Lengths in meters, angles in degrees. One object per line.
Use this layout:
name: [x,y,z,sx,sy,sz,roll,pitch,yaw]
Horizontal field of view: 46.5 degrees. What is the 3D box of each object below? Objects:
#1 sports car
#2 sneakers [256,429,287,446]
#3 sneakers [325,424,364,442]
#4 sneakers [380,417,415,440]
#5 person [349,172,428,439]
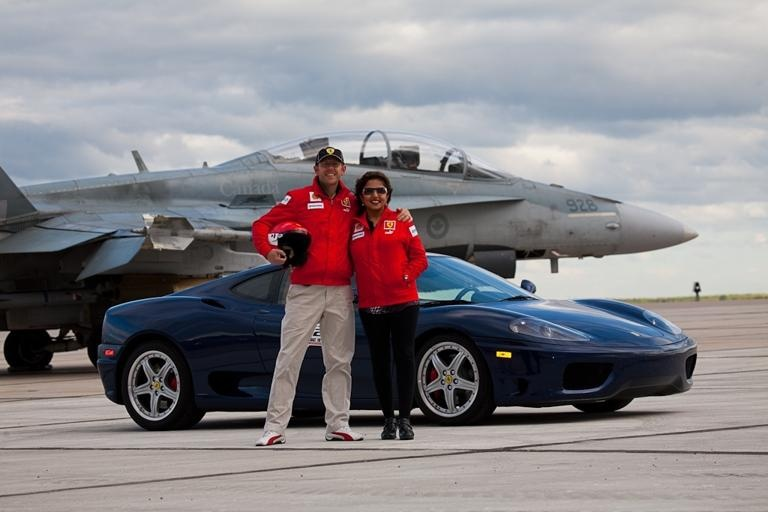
sports car: [0.189,0.690,10.710,6.853,1.290,3.506,-4,9,40]
sneakers: [-1.032,1.632,8.040,0.194,0.119,0.256,1,8,20]
sneakers: [-0.385,1.621,8.222,0.436,0.107,0.119,0,1,6]
sneakers: [0.114,1.555,8.086,0.373,0.147,0.486,0,-9,-1]
person: [-0.004,0.361,8.176,0.708,2.239,0.754,-1,12,13]
